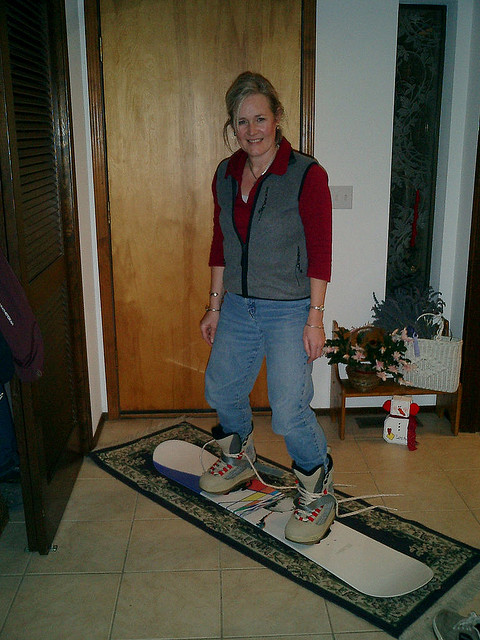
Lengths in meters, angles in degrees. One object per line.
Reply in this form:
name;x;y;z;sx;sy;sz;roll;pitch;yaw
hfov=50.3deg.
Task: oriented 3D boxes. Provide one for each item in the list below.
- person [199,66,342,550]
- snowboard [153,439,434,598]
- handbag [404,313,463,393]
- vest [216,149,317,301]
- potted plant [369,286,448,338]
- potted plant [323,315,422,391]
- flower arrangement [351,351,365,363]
person;0.103;-0.018;1.659;0.259;1.429;0.520;-13;19;-42
snowboard;0.068;0.679;1.859;0.311;0.177;1.232;-16;25;-39
handbag;0.959;0.169;2.477;0.135;0.318;0.250;2;1;-35
vest;0.083;-0.304;1.605;0.327;0.441;0.238;18;29;40
potted plant;0.855;-0.033;2.591;0.317;0.232;0.284;1;-1;3
potted plant;0.639;0.210;2.479;0.373;0.320;0.444;2;6;-17
flower arrangement;0.554;0.171;2.362;0.060;0.061;0.031;-6;15;-23
